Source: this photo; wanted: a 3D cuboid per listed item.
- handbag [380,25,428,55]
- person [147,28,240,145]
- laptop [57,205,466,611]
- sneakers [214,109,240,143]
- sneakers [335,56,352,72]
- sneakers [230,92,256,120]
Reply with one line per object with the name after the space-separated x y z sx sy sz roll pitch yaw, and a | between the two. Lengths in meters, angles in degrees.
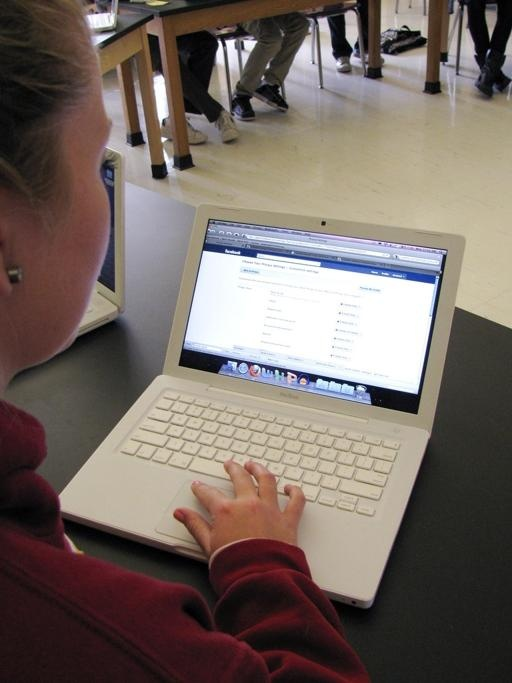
1.400 -2.872 5.275 0.418 0.134 0.305 -31 53 -24 | handbag
-0.436 -1.797 3.862 0.379 0.478 1.136 -17 49 -13 | person
0.019 0.030 0.690 0.486 0.263 0.512 2 27 5 | laptop
-0.206 -1.486 3.863 0.104 0.125 0.312 -21 45 9 | sneakers
0.806 -2.506 5.010 0.088 0.087 0.189 -3 48 4 | sneakers
-0.105 -1.780 4.215 0.105 0.129 0.298 -13 45 -10 | sneakers
